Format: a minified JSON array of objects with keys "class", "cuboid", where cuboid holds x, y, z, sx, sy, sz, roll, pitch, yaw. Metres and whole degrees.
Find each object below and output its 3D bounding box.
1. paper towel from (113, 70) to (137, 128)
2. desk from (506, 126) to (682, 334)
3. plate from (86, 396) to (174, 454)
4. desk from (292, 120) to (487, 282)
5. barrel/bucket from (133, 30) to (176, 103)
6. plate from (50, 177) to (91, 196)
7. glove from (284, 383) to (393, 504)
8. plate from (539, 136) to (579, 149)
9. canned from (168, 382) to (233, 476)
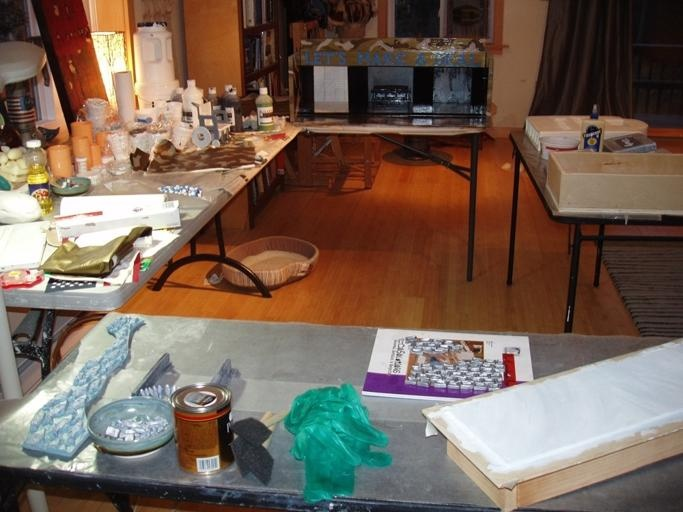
[{"class":"paper towel","cuboid":[-1.321,-0.981,3.083,0.143,0.132,0.544,0,54,-23]},{"class":"desk","cuboid":[1.468,-0.090,2.964,0.696,0.651,1.369,-2,27,0]},{"class":"plate","cuboid":[-0.442,0.362,1.088,0.168,0.063,0.167,-8,19,-33]},{"class":"desk","cuboid":[0.304,-0.412,4.154,1.665,1.267,1.499,4,11,10]},{"class":"barrel/bucket","cuboid":[-1.205,-1.219,3.263,0.263,0.470,0.283,-1,24,1]},{"class":"plate","cuboid":[-1.102,-0.286,2.067,0.094,0.036,0.094,-1,24,-6]},{"class":"glove","cuboid":[-0.010,0.374,1.077,0.201,0.064,0.275,-8,24,-14]},{"class":"plate","cuboid":[1.211,-0.625,2.802,0.125,0.040,0.121,-14,25,-23]},{"class":"canned","cuboid":[-0.281,0.347,1.040,0.124,0.136,0.127,4,13,14]}]
